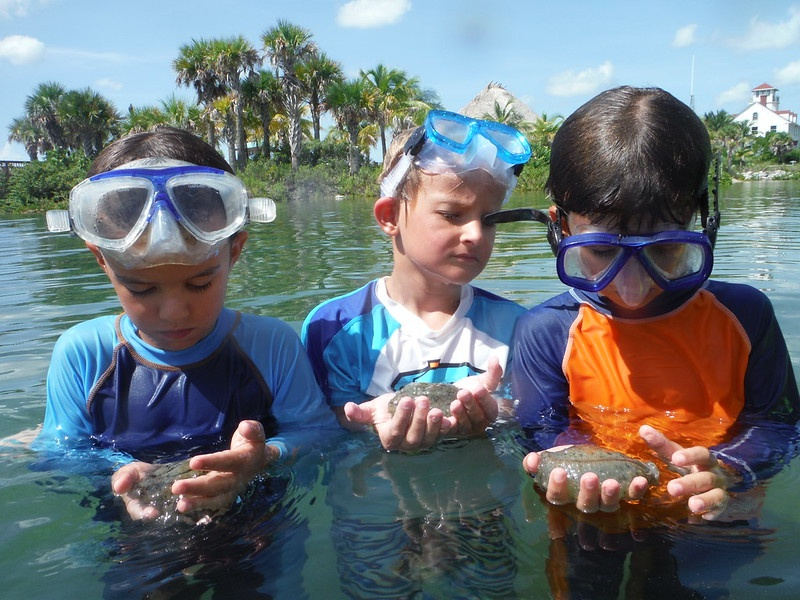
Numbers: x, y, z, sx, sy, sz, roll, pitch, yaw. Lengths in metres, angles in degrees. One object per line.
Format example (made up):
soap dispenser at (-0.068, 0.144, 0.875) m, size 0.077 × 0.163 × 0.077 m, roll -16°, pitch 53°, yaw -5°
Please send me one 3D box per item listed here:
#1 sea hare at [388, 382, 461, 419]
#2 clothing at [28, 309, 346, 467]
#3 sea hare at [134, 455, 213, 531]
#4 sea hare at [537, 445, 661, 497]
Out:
sea hare at (0.126, 0.444, 2.771) m, size 0.185 × 0.054 × 0.170 m, roll 0°, pitch 13°, yaw 19°
clothing at (-1.041, 0.363, 2.900) m, size 1.358 × 0.851 × 0.558 m, roll -4°, pitch 45°, yaw -16°
sea hare at (-0.796, 0.696, 2.226) m, size 0.283 × 0.179 × 0.169 m, roll -1°, pitch 4°, yaw 17°
sea hare at (0.707, 0.596, 2.251) m, size 0.286 × 0.089 × 0.219 m, roll 1°, pitch 2°, yaw -7°
